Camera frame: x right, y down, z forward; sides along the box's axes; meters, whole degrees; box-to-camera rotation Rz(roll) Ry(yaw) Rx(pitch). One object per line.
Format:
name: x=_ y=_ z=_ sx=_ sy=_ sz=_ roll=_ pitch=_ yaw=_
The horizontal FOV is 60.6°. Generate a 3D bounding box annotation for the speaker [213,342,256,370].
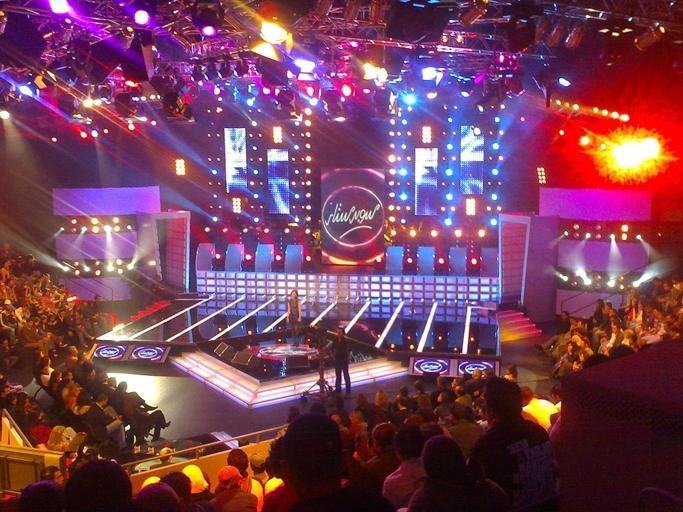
speaker: x=-2.628 y=2.487 z=14.532 sx=1.227 sy=0.312 sz=0.444 roll=5 pitch=30 yaw=36

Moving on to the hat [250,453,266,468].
hat: x=-1.039 y=2.512 z=7.201 sx=0.170 sy=0.114 sz=0.174 roll=2 pitch=-3 yaw=1
